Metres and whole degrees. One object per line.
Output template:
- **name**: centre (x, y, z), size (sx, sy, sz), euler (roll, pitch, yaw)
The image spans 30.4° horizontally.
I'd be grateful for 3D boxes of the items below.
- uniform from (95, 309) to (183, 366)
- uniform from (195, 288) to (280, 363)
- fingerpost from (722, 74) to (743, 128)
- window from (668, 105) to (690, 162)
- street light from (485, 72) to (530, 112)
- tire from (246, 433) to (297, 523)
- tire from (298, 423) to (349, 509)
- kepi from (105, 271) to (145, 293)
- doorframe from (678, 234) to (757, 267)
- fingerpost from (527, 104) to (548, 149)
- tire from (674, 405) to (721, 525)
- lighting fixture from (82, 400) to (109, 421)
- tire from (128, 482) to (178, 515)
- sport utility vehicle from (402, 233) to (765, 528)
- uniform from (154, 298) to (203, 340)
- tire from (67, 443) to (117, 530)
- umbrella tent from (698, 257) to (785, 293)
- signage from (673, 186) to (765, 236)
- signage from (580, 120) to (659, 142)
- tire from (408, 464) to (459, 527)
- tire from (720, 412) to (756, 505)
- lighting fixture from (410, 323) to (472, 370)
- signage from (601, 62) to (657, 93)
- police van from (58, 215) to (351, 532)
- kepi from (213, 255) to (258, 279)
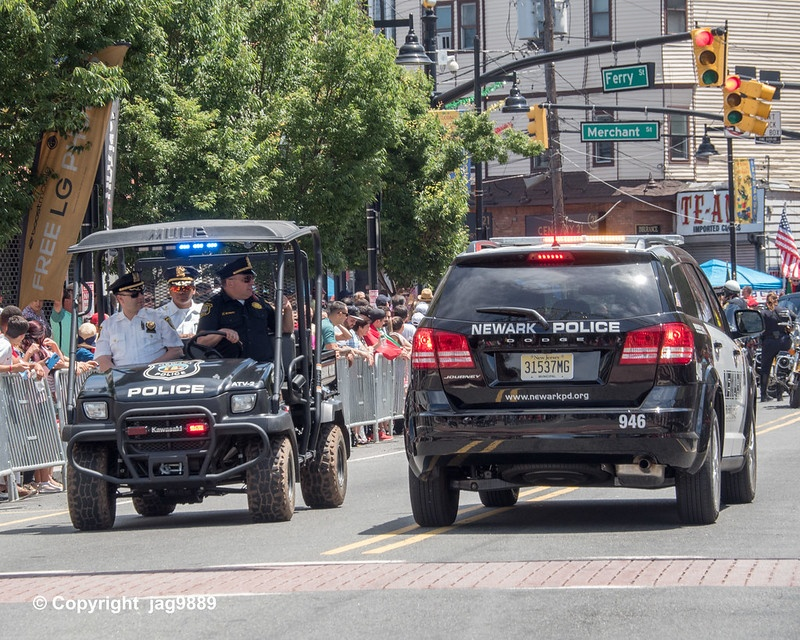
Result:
- **uniform**: centre (-2.348, 0.171, 13.236), size (0.556, 0.382, 0.214), euler (-3, -11, -2)
- **uniform**: centre (-1.416, 0.073, 12.983), size (0.742, 0.532, 0.346), euler (-2, 1, -29)
- **fingerpost**: centre (6.165, -4.016, 27.046), size (0.416, 0.991, 0.314), euler (-2, 10, 12)
- **window**: centre (10.081, -6.622, 53.053), size (0.919, 2.072, 0.125), euler (0, -11, 3)
- **street light**: centre (2.699, -5.411, 34.935), size (0.901, 0.874, 0.706), euler (-4, 15, -23)
- **tire**: centre (-1.077, 1.316, 12.284), size (0.377, 0.756, 0.827), euler (0, 3, 13)
- **tire**: centre (-0.704, 1.334, 13.452), size (0.319, 0.662, 0.711), euler (2, -17, 11)
- **kepi**: centre (-2.507, -0.337, 13.392), size (0.249, 0.100, 0.210), euler (-11, -6, 32)
- **doorframe**: centre (9.905, -2.134, 44.690), size (3.053, 1.473, 0.151), euler (0, -4, 8)
- **fingerpost**: centre (2.943, -4.237, 31.634), size (0.342, 0.729, 0.076), euler (-7, 38, 2)
- **tire**: centre (2.213, 1.066, 10.916), size (0.288, 0.761, 0.815), euler (-1, 19, 14)
- **lighting fixture**: centre (-2.530, 0.752, 12.273), size (0.195, 0.128, 0.082), euler (0, 1, 9)
- **tire**: centre (-2.144, 1.549, 12.852), size (0.249, 0.482, 0.525), euler (-3, -5, 9)
- **sport utility vehicle**: centre (1.697, 0.471, 12.734), size (2.524, 1.990, 4.585), euler (1, -2, 19)
- **uniform**: centre (-2.059, -0.008, 13.638), size (0.437, 0.354, 0.220), euler (-1, -5, -38)
- **tire**: centre (-2.596, 1.380, 12.404), size (0.348, 0.756, 0.820), euler (-1, 1, 3)
- **umbrella tent**: centre (10.090, -1.296, 43.442), size (3.047, 0.624, 2.681), euler (2, 0, 5)
- **signage**: centre (11.905, -3.803, 51.883), size (1.993, 1.612, 3.737), euler (0, 1, -38)
- **signage**: centre (4.746, -4.053, 31.567), size (1.629, 0.434, 0.857), euler (-3, 4, 8)
- **tire**: centre (0.277, 1.343, 11.371), size (0.244, 0.560, 0.624), euler (-2, -3, 30)
- **tire**: centre (2.831, 1.164, 12.319), size (0.271, 0.714, 0.769), euler (-4, 14, 12)
- **lighting fixture**: centre (0.314, 0.220, 10.862), size (0.378, 0.329, 0.228), euler (6, 15, 11)
- **signage**: centre (4.526, -4.743, 28.652), size (1.167, 0.504, 0.973), euler (-2, 4, 27)
- **police van**: centre (-1.635, 0.539, 13.780), size (2.100, 1.984, 3.372), euler (-3, -7, 10)
- **kepi**: centre (-1.445, -0.460, 12.983), size (0.256, 0.107, 0.191), euler (-11, -2, 14)
